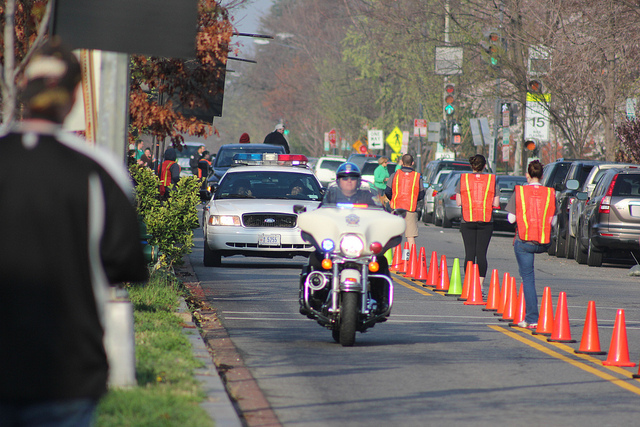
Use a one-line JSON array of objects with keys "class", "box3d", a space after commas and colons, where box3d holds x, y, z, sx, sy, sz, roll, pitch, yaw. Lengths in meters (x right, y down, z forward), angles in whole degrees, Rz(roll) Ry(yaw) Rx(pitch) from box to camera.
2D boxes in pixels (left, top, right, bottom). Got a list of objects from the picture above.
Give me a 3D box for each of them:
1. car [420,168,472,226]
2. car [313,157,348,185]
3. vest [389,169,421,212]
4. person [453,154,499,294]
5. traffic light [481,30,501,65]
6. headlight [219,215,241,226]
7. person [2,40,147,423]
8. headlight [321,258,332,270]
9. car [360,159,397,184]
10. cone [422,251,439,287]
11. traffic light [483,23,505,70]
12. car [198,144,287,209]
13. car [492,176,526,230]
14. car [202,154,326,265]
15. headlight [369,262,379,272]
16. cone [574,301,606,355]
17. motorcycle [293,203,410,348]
[{"class": "car", "box3d": [3.676, -0.563, 38.145, 1.177, 1.134, 2.606, -1, 6, 0]}, {"class": "car", "box3d": [0.289, -1.697, 47.457, 1.089, 1.004, 1.829, 1, 14, -1]}, {"class": "vest", "box3d": [1.557, -0.445, 23.549, 0.631, 0.933, 0.506, 8, -8, 8]}, {"class": "person", "box3d": [2.447, 0.150, 20.070, 0.689, 2.200, 1.103, 3, 5, 6]}, {"class": "traffic light", "box3d": [5.194, -5.190, 38.334, 0.609, 1.294, 0.725, -3, -21, 1]}, {"class": "headlight", "box3d": [-1.521, 0.115, 21.577, 0.203, 0.095, 0.207, 2, 3, -2]}, {"class": "person", "box3d": [-1.767, 0.151, 8.947, 0.927, 2.617, 0.425, 1, 5, -16]}, {"class": "headlight", "box3d": [0.073, 0.577, 14.510, 0.104, 0.108, 0.106, 5, 21, -7]}, {"class": "car", "box3d": [1.881, -1.471, 42.206, 0.817, 0.793, 1.498, 0, -4, -7]}, {"class": "cone", "box3d": [1.834, 0.925, 21.143, 0.259, 0.578, 0.696, 3, 5, 5]}, {"class": "traffic light", "box3d": [5.170, -5.077, 38.108, 0.656, 0.881, 1.551, -1, -1, 2]}, {"class": "car", "box3d": [-1.509, -0.749, 25.154, 1.557, 1.333, 3.052, -1, -1, -1]}, {"class": "car", "box3d": [4.906, -0.222, 33.629, 1.184, 0.962, 2.623, 1, 8, 4]}, {"class": "car", "box3d": [-0.961, -0.029, 21.560, 2.015, 1.776, 4.462, -1, -1, -2]}, {"class": "headlight", "box3d": [0.614, 0.615, 14.541, 0.093, 0.098, 0.129, 3, -14, 3]}, {"class": "cone", "box3d": [3.164, 1.347, 15.023, 0.339, 0.668, 0.482, 5, 5, 30]}, {"class": "motorcycle", "box3d": [0.338, 0.754, 15.266, 1.257, 1.728, 1.767, 3, 5, 1]}]
